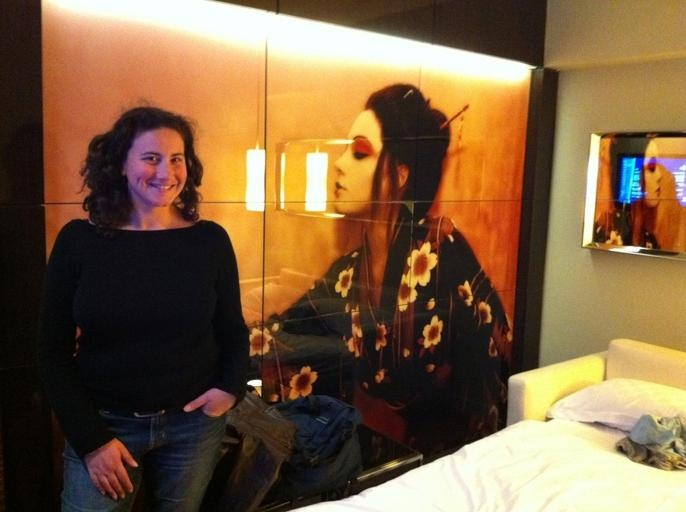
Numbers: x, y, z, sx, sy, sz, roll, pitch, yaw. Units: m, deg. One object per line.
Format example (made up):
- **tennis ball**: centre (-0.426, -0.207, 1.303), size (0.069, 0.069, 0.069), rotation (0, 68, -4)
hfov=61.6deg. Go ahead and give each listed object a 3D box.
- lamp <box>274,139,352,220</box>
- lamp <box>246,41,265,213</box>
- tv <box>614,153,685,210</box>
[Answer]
- **lamp**: centre (-0.217, -0.448, 3.396), size (0.408, 0.432, 0.406), rotation (-5, 9, -34)
- **lamp**: centre (-0.463, -0.700, 3.122), size (0.073, 0.911, 0.193), rotation (7, 13, 26)
- **tv**: centre (2.038, -0.486, 3.772), size (0.013, 0.259, 0.351), rotation (-2, 7, -34)
